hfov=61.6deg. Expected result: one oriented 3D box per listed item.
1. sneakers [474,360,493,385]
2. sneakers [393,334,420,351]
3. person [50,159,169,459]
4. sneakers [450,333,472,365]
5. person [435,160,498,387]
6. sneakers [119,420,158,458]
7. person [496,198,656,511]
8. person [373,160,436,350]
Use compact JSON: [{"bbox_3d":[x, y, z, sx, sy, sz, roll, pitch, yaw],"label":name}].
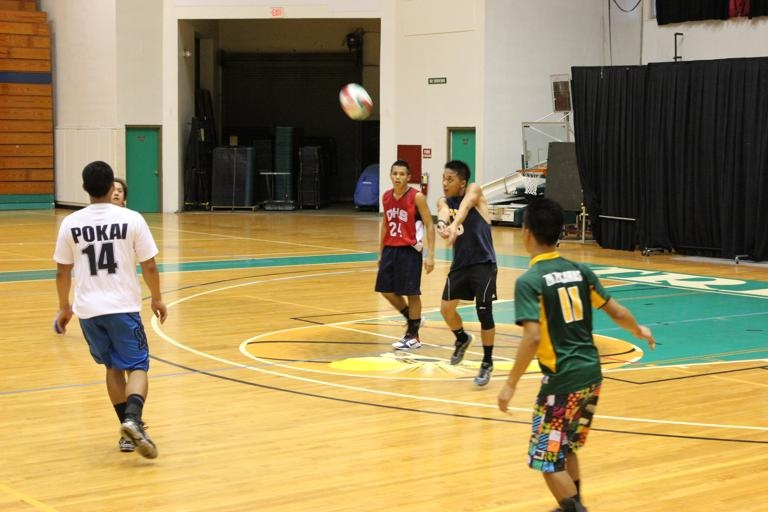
[{"bbox_3d":[0.876,1.012,5.653,0.093,0.111,0.278,5,26,19],"label":"sneakers"},{"bbox_3d":[0.233,0.914,6.832,0.315,0.135,0.120,-1,5,-14],"label":"sneakers"},{"bbox_3d":[-1.682,0.466,4.094,0.526,1.576,0.900,-6,11,-41],"label":"person"},{"bbox_3d":[0.743,0.902,6.243,0.128,0.367,0.148,26,6,33],"label":"sneakers"},{"bbox_3d":[0.746,0.119,5.848,0.558,1.937,0.927,2,8,10],"label":"person"},{"bbox_3d":[-1.532,1.142,4.012,0.136,0.334,0.154,-20,48,13],"label":"sneakers"},{"bbox_3d":[0.875,0.461,3.147,0.499,1.454,0.476,5,9,24],"label":"person"},{"bbox_3d":[0.226,-0.005,6.734,0.658,1.937,0.403,4,9,19],"label":"person"}]
